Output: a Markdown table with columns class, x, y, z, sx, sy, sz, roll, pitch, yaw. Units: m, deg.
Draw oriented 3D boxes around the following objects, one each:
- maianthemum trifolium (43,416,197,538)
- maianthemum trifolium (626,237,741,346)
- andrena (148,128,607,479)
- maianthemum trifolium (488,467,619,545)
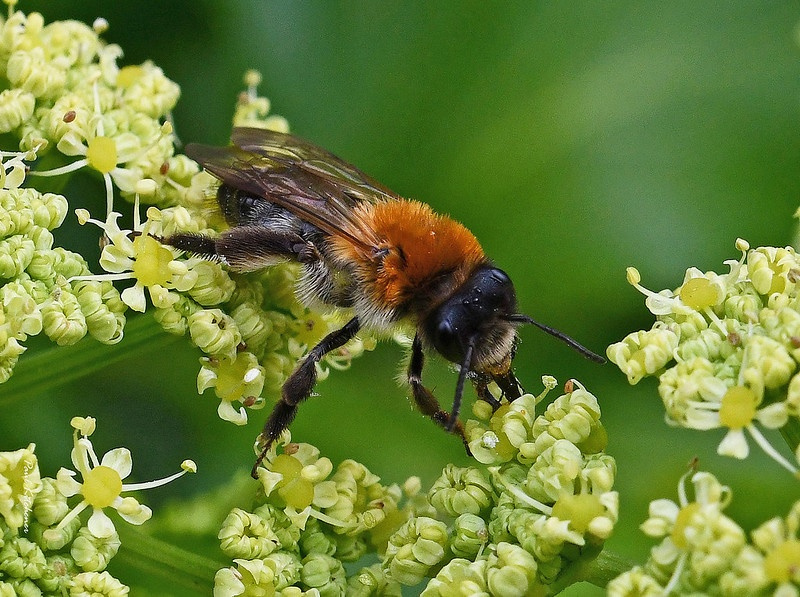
| class | x | y | z | sx | sy | sz | roll | pitch | yaw |
| --- | --- | --- | --- | --- | --- | --- | --- | --- | --- |
| maianthemum trifolium | -0.958 | 0.596 | 2.847 | 0.327 | 0.192 | 0.447 | -24 | 70 | -37 |
| maianthemum trifolium | 0.885 | 0.001 | 2.761 | 0.201 | 0.376 | 0.245 | -4 | 21 | -13 |
| andrena | -0.220 | -0.082 | 3.629 | 2.028 | 0.778 | 1.462 | 34 | 11 | -1 |
| maianthemum trifolium | 0.501 | 0.633 | 2.601 | 0.235 | 0.247 | 0.251 | -1 | 10 | 1 |
